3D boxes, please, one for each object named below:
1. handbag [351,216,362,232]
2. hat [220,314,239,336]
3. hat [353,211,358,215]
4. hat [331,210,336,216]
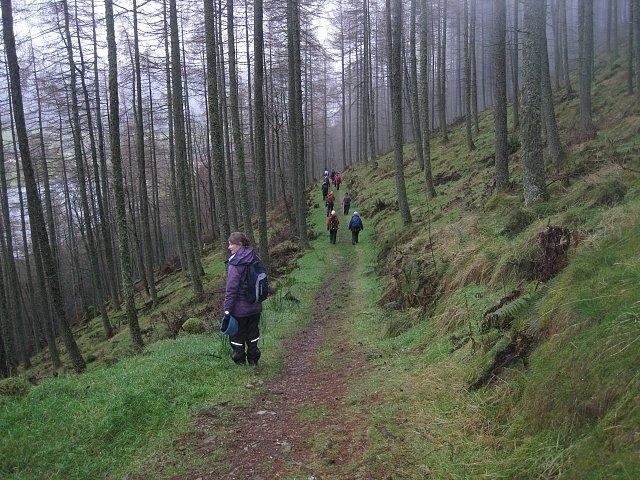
[{"bbox_3d":[1.915,-0.853,37.229,0.523,0.467,1.233,9,-31,7],"label":"handbag"},{"bbox_3d":[-3.260,3.085,24.820,0.554,0.793,0.513,-4,-10,40],"label":"hat"},{"bbox_3d":[1.938,-1.478,37.617,0.310,0.268,0.414,-2,3,1],"label":"hat"},{"bbox_3d":[0.719,-1.651,41.614,0.249,0.276,0.621,29,-5,-20],"label":"hat"}]
